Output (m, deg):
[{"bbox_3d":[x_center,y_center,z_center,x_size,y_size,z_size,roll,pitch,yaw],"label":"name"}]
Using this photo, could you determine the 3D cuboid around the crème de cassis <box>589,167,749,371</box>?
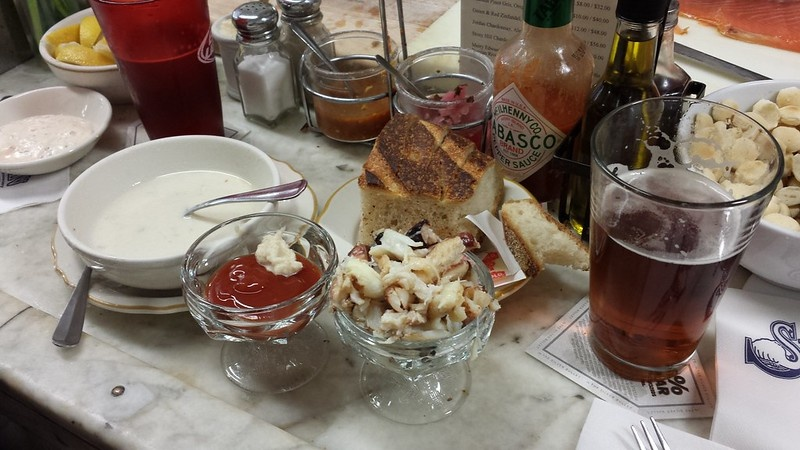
[{"bbox_3d":[0.402,0.060,0.816,0.224,0.279,0.198,-21,47,-18],"label":"crème de cassis"}]
